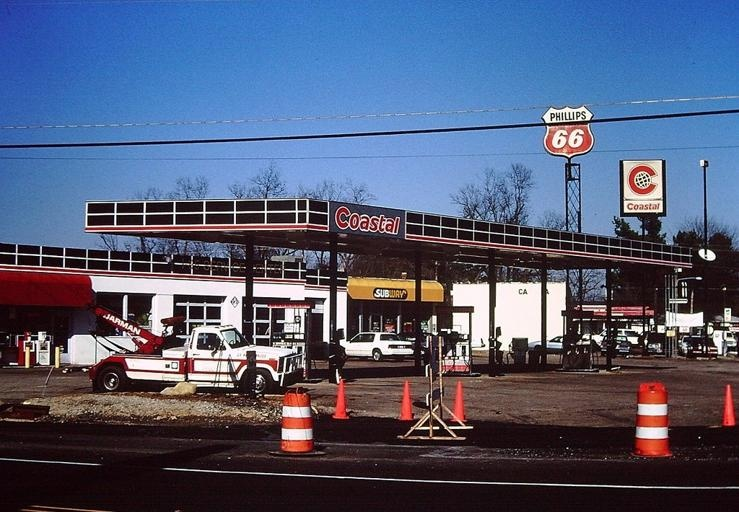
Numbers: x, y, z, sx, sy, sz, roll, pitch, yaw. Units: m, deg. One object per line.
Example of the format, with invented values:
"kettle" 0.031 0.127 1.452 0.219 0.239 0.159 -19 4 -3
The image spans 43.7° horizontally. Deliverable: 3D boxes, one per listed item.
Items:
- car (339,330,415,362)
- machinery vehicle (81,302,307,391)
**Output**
"car" 0.459 5.255 54.119 3.840 1.591 1.121 -1 -5 26
"machinery vehicle" -5.571 2.989 30.424 5.842 2.369 2.824 -2 -1 9
